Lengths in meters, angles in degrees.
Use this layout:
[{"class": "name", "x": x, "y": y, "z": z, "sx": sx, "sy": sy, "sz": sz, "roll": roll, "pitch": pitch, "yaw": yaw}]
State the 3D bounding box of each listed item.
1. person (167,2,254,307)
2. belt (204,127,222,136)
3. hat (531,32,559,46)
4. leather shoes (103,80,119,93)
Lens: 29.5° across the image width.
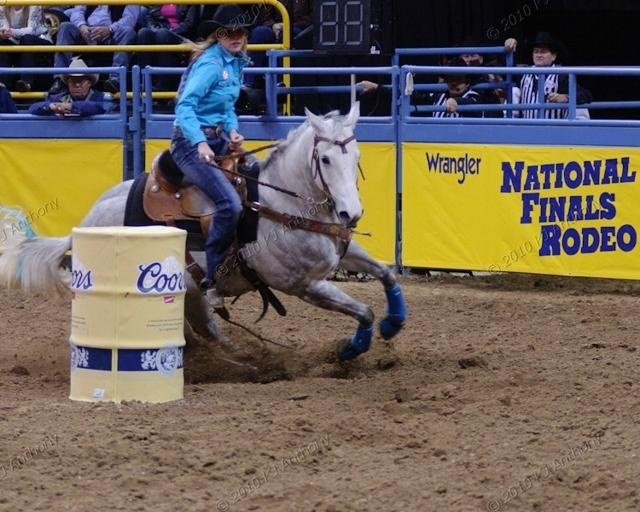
[{"class": "person", "x": -0.976, "y": -0.824, "z": 11.084, "sx": 0.731, "sy": 2.861, "sz": 0.677, "roll": -2, "pitch": 9, "yaw": -14}, {"class": "belt", "x": -0.994, "y": -1.120, "z": 11.177, "sx": 0.121, "sy": 0.056, "sz": 0.089, "roll": 1, "pitch": 3, "yaw": 22}, {"class": "hat", "x": 2.820, "y": -2.633, "z": 15.152, "sx": 0.403, "sy": 0.144, "sz": 0.426, "roll": 2, "pitch": 5, "yaw": 9}, {"class": "leather shoes", "x": -2.681, "y": -2.126, "z": 15.500, "sx": 0.118, "sy": 0.117, "sz": 0.291, "roll": 13, "pitch": -18, "yaw": 4}]
